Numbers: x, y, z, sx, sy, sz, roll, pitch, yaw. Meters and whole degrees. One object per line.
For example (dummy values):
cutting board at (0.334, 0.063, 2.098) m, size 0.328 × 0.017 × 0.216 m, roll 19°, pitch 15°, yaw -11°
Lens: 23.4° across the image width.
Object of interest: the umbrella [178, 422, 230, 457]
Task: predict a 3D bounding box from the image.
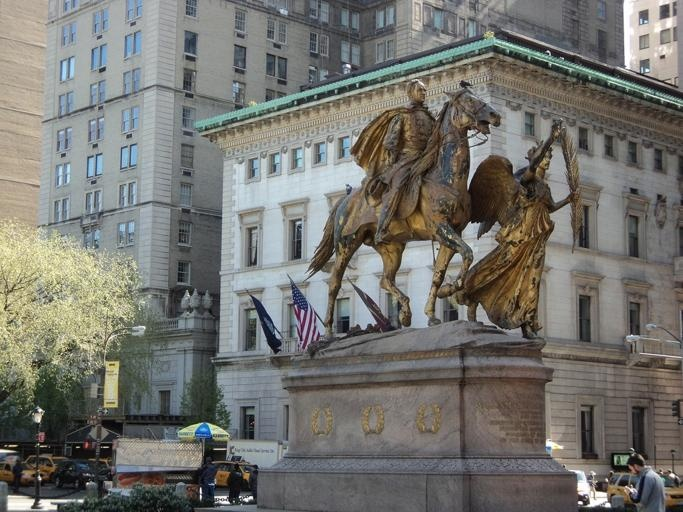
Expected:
umbrella at (-6.873, 9.683, 87.650) m, size 3.200 × 1.886 × 3.168 m, roll 11°, pitch -7°, yaw -32°

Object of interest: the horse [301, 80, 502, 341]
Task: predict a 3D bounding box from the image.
horse at (2.132, -1.573, 55.054) m, size 3.493 × 8.277 × 9.198 m, roll 13°, pitch -14°, yaw -40°
